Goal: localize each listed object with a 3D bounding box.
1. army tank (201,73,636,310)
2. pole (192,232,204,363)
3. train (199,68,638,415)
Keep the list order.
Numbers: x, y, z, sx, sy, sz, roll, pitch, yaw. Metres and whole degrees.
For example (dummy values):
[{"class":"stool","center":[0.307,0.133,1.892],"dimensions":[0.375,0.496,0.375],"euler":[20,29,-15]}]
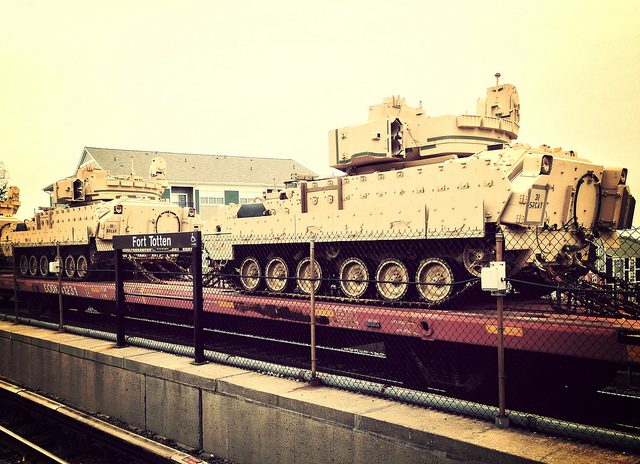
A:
[{"class":"army tank","center":[2.250,-0.302,19.805],"dimensions":[10.375,4.776,12.735],"euler":[5,0,35]},{"class":"pole","center":[-2.143,1.135,13.025],"dimensions":[0.262,2.276,0.630],"euler":[2,-2,-15]},{"class":"train","center":[1.738,0.061,15.194],"dimensions":[9.556,6.275,5.048],"euler":[-3,-6,43]}]
